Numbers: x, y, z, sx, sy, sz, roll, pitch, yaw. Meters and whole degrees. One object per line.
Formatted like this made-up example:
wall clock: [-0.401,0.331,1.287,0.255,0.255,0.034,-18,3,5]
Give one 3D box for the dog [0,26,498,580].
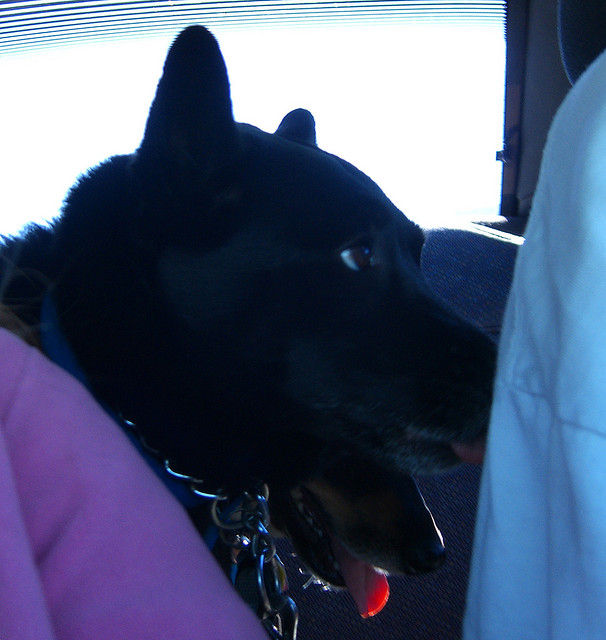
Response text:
dog: [-0.061,0.043,1.042,0.799,0.873,0.439,5,-3,-1]
